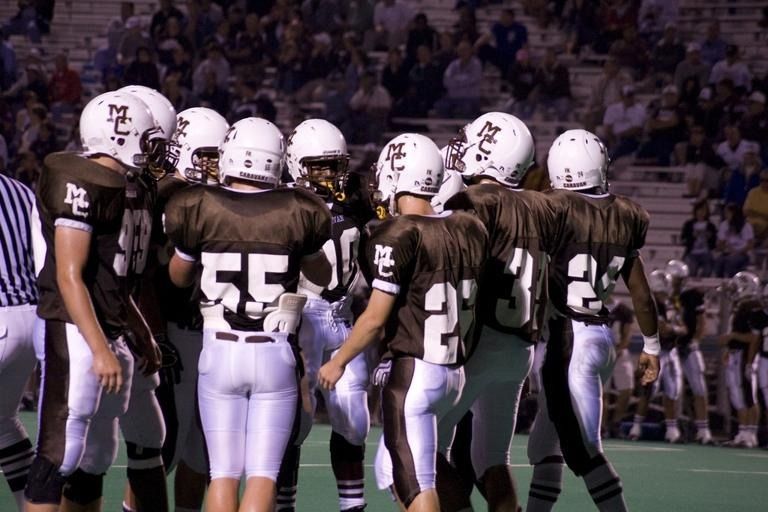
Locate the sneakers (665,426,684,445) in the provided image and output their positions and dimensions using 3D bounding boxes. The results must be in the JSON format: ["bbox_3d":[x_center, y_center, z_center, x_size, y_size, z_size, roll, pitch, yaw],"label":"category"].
[{"bbox_3d":[3.732,2.334,14.967,0.147,0.209,0.084,-8,-31,36],"label":"sneakers"}]

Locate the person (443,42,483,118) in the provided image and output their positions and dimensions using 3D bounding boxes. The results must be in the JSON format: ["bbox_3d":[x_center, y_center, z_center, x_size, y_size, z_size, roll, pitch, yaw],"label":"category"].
[{"bbox_3d":[1.317,-2.978,19.640,0.623,1.272,0.246,3,3,-4],"label":"person"}]

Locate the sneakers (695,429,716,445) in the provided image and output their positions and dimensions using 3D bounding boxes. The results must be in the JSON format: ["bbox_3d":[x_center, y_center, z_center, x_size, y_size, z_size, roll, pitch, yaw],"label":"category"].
[{"bbox_3d":[4.152,2.324,14.931,0.243,0.185,0.221,3,3,-6],"label":"sneakers"}]

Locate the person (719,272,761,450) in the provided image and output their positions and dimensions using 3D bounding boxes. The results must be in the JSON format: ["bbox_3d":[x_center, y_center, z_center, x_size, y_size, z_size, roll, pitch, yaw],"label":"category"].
[{"bbox_3d":[4.622,1.318,14.921,0.420,2.207,0.638,3,3,-9],"label":"person"}]

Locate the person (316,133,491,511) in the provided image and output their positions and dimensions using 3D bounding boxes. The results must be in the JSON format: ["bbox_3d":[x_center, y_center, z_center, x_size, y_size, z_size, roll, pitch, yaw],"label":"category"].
[{"bbox_3d":[0.267,0.576,10.070,1.178,3.248,0.602,3,3,4],"label":"person"}]

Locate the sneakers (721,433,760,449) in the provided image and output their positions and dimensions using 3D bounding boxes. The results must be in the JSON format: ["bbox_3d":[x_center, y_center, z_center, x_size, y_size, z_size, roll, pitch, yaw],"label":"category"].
[{"bbox_3d":[4.585,2.357,14.782,0.296,0.166,0.208,-4,-6,5],"label":"sneakers"}]

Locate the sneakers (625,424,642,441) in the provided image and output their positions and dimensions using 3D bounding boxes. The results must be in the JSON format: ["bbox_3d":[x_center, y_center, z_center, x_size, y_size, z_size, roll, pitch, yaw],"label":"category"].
[{"bbox_3d":[3.273,2.322,15.127,0.117,0.261,0.133,18,-1,19],"label":"sneakers"}]

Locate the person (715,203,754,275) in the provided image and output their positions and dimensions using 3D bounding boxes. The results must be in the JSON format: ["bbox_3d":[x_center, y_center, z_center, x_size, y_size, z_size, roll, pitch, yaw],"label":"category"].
[{"bbox_3d":[5.185,-0.217,17.081,0.532,1.070,0.322,4,3,21],"label":"person"}]

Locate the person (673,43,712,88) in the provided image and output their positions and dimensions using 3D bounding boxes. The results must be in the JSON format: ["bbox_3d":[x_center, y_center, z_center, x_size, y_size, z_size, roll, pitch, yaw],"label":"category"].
[{"bbox_3d":[4.967,-3.025,18.498,0.568,0.925,0.500,1,-28,18],"label":"person"}]
